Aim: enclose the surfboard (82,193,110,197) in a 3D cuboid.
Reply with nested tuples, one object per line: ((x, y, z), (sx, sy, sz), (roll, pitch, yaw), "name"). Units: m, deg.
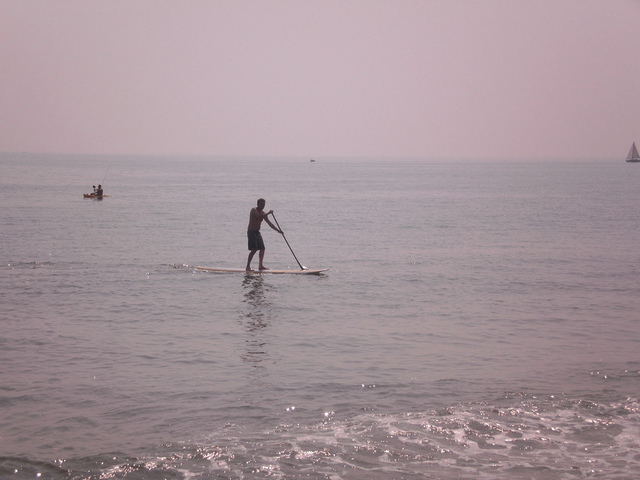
((-17.428, -3.530, 76.327), (2.485, 0.248, 0.582), (2, -2, -25), "surfboard")

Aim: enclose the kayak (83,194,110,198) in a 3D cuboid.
((-17.669, -3.473, 76.756), (0.515, 0.252, 2.238), (6, 8, 42), "kayak")

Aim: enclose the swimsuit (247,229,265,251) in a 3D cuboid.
((-2.160, -0.016, 32.512), (0.243, 0.686, 0.596), (7, 5, 36), "swimsuit")
